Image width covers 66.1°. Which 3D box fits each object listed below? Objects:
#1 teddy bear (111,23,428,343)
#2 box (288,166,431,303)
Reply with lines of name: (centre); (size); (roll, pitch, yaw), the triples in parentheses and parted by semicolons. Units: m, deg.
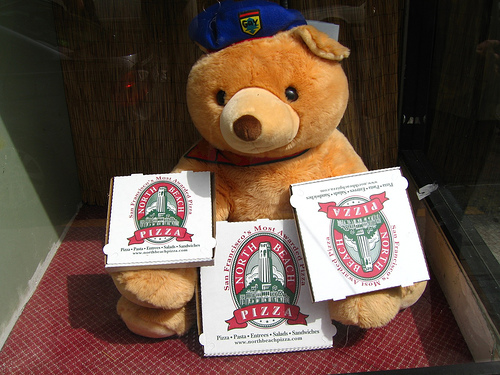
teddy bear: (0.097, -0.059, 1.227); (0.803, 0.907, 0.772); (8, 29, 23)
box: (0.327, 0.133, 1.169); (0.380, 0.264, 0.250); (-8, 33, -6)
